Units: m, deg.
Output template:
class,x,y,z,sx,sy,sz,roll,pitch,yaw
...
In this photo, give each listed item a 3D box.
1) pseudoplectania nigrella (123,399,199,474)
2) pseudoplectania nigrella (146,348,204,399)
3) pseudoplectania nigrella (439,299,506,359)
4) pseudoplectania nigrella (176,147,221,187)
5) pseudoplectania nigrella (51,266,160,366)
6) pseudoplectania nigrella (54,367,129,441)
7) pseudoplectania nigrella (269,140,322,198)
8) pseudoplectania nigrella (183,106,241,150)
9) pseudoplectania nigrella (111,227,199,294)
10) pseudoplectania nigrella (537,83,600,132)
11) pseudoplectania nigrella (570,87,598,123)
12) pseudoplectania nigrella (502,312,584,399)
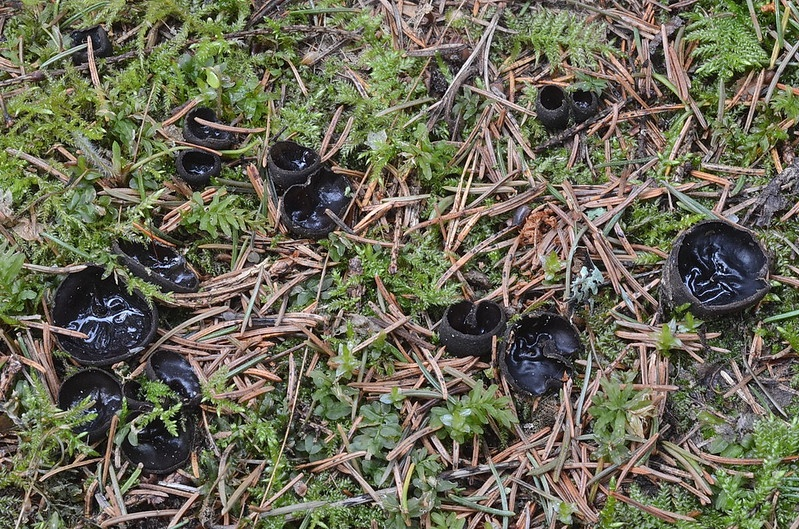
class,x,y,z,sx,sy,sz,roll,pitch,yaw
pseudoplectania nigrella,-1.746,1.345,5.319,0.527,0.101,0.367,-34,76,-4
pseudoplectania nigrella,-1.685,0.853,5.456,0.317,0.105,0.423,-30,78,-39
pseudoplectania nigrella,0.551,0.467,5.518,0.438,0.267,0.458,-4,55,-1
pseudoplectania nigrella,-1.611,-0.746,5.870,0.329,0.202,0.306,23,74,2
pseudoplectania nigrella,-2.258,0.426,5.461,0.801,0.215,0.674,32,81,11
pseudoplectania nigrella,-2.274,1.038,5.390,0.460,0.249,0.546,-30,79,-19
pseudoplectania nigrella,-0.859,-0.812,5.779,0.428,0.330,0.382,38,61,15
pseudoplectania nigrella,-1.522,-1.077,5.844,0.402,0.165,0.351,19,74,-12
pseudoplectania nigrella,-1.962,0.046,5.526,0.652,0.361,0.170,20,110,28
pseudoplectania nigrella,1.321,-1.262,5.672,0.479,0.218,0.333,5,93,7
pseudoplectania nigrella,1.495,-1.284,5.827,0.214,0.192,0.267,-4,53,3
pseudoplectania nigrella,1.040,0.659,5.308,0.563,0.178,0.617,16,78,8
